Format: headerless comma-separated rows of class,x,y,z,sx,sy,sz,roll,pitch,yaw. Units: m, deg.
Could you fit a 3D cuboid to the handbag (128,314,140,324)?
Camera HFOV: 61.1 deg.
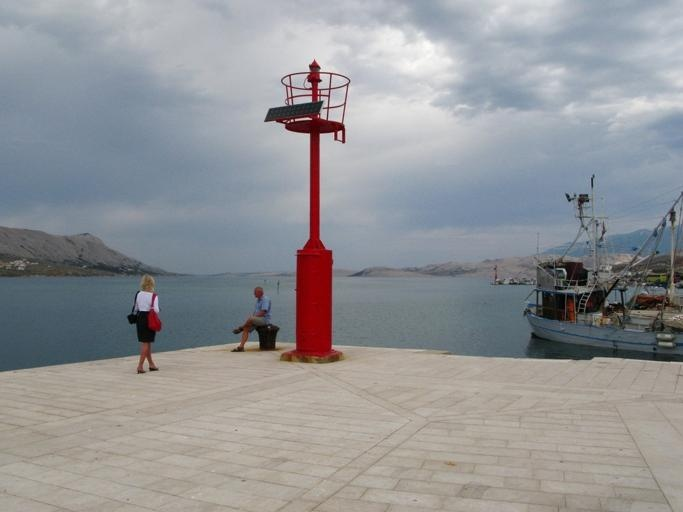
handbag,-4.893,1.445,13.537,0.337,0.302,0.374,-1,-10,-15

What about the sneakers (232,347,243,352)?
sneakers,-3.147,2.772,17.448,0.311,0.091,0.146,3,-4,3
